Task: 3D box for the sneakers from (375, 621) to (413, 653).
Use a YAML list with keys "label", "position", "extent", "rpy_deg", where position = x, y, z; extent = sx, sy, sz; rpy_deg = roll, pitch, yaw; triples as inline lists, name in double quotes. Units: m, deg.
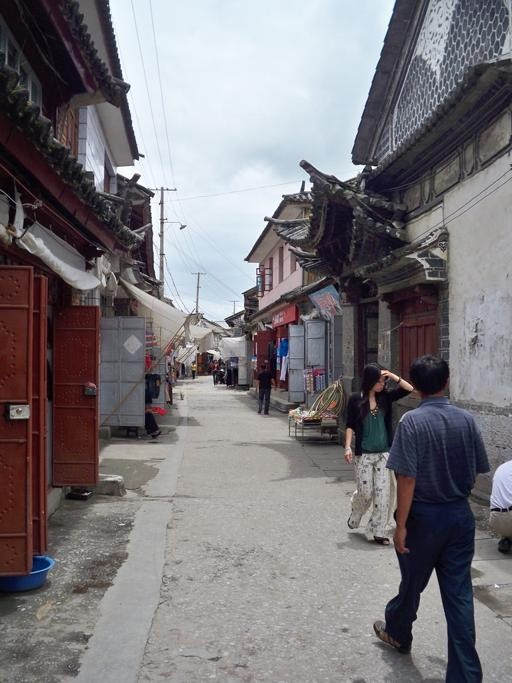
- label: "sneakers"
  position: [0.763, 1.644, 3.508]
  extent: [0.068, 0.083, 0.200]
  rpy_deg: [-6, 20, -20]
